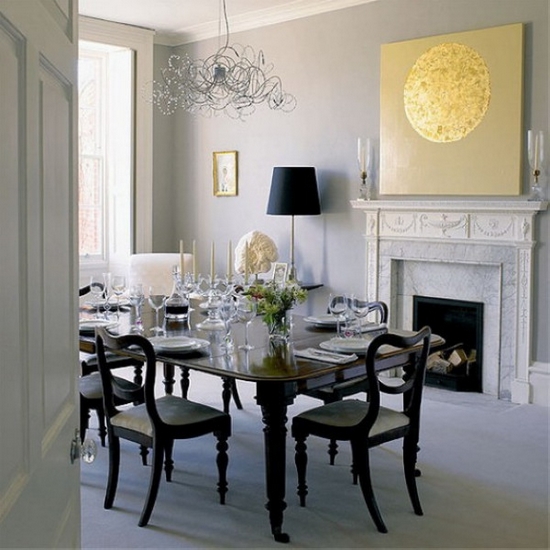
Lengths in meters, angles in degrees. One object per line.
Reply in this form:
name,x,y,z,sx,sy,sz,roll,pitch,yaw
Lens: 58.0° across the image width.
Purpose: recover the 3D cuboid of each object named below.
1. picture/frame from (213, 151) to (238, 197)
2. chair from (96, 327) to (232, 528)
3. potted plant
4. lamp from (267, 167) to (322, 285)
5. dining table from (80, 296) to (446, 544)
picture/frame,-0.605,-1.278,6.255,0.507,0.819,0.073,1,1,43
chair,-0.601,0.774,2.719,0.578,1.067,0.665,1,5,17
potted plant,0.023,0.254,2.894,0.338,0.414,0.338,-2,2,-25
lamp,0.218,-0.551,5.345,0.566,1.256,0.493,0,4,5
dining table,-0.095,0.763,2.801,1.691,1.006,1.417,3,5,37
